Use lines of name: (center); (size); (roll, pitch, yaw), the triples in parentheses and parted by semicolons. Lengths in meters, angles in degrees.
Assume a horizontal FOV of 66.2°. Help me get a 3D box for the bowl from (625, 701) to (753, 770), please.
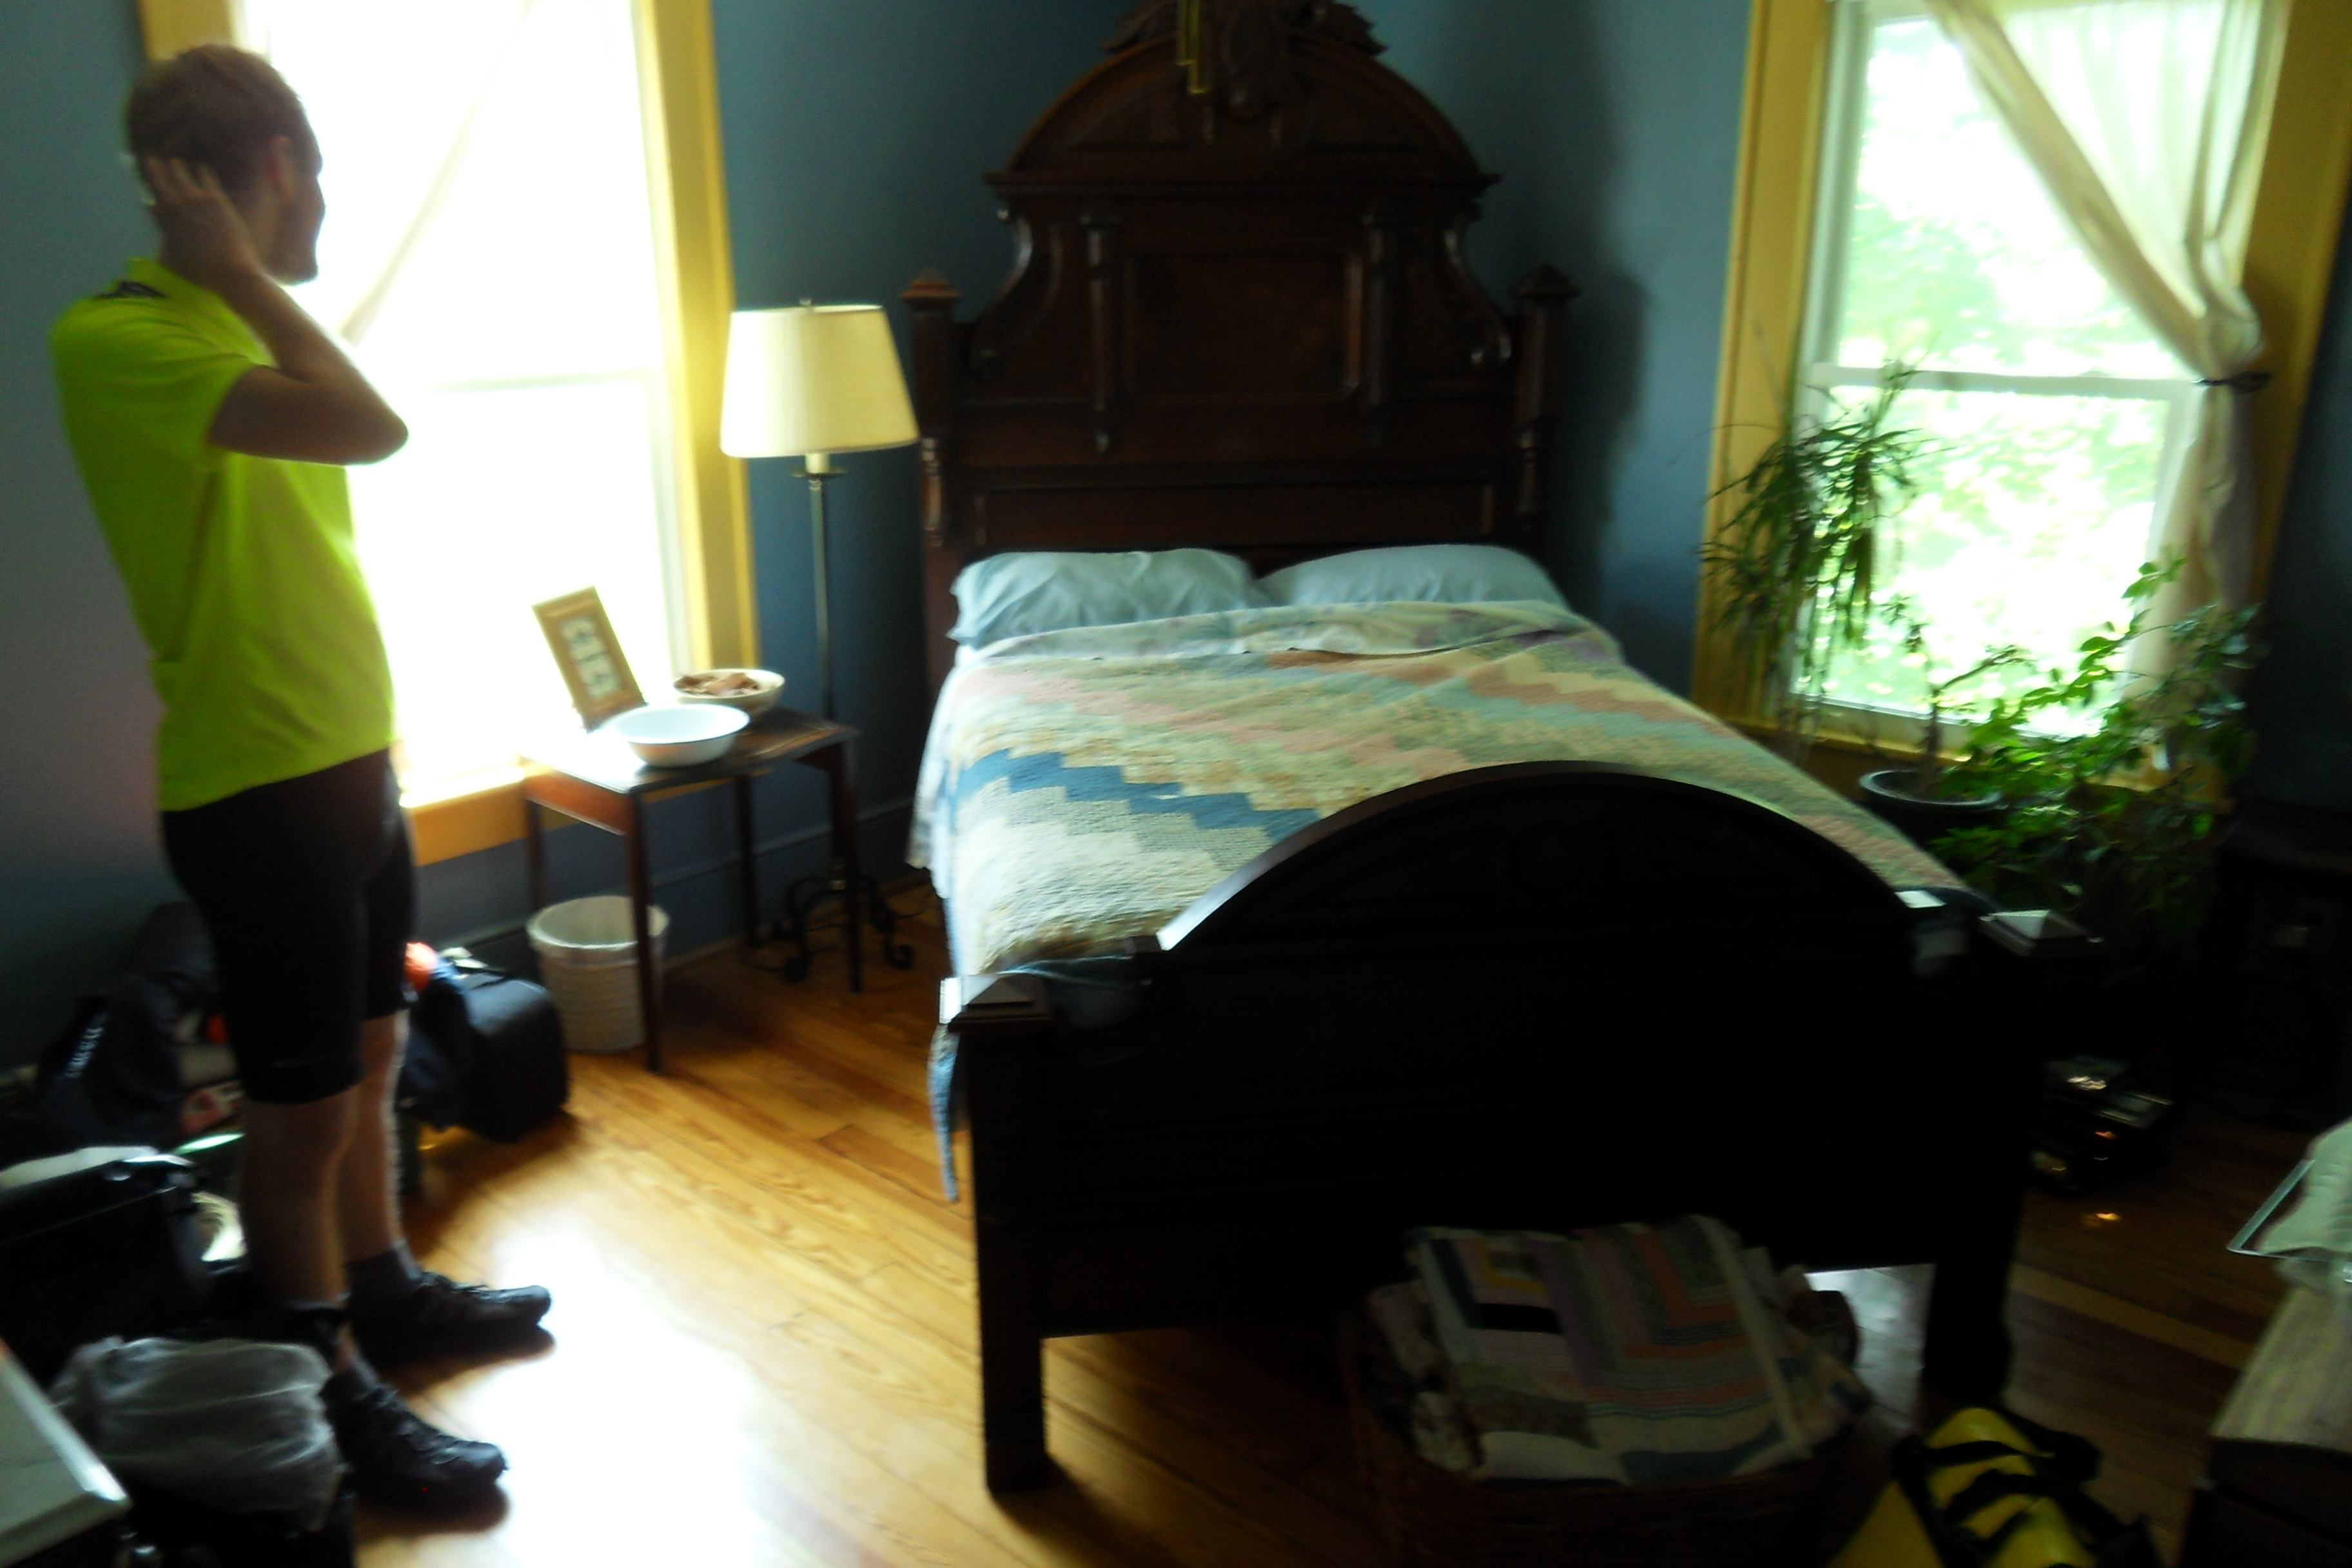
bowl: (-1.097, -0.110, 4.021); (0.288, 0.103, 0.243); (-9, 19, -26)

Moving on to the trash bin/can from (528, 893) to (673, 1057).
trash bin/can: (-1.287, 0.405, 4.117); (0.394, 0.280, 0.335); (4, 17, 13)

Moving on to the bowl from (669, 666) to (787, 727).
bowl: (-1.041, -0.203, 4.197); (0.163, 0.049, 0.153); (1, 19, 0)

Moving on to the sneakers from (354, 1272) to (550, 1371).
sneakers: (-1.288, 0.931, 3.277); (0.392, 0.152, 0.131); (-3, 22, -24)

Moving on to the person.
person: (-1.372, 0.041, 2.843); (0.484, 2.277, 0.669); (-9, 21, -20)

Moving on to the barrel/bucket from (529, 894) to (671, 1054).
barrel/bucket: (-1.275, 0.406, 4.141); (0.391, 0.279, 0.337); (5, 17, 15)

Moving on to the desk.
desk: (-1.105, 0.196, 4.202); (0.544, 0.559, 0.612); (13, 20, 38)
